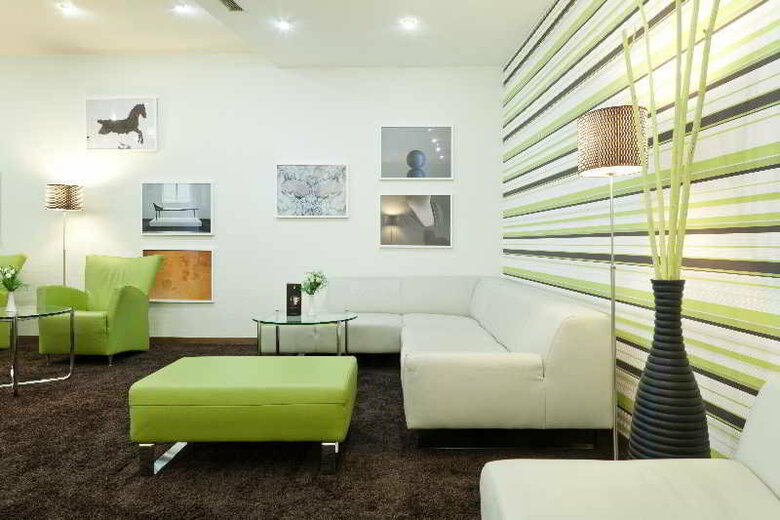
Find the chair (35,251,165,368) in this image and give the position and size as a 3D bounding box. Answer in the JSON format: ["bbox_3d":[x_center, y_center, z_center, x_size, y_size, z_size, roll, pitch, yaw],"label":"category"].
[{"bbox_3d":[-3.116,0.523,6.264,1.133,1.274,1.239,-1,-4,15],"label":"chair"}]

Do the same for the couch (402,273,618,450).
[{"bbox_3d":[0.906,0.923,4.371,0.999,0.618,1.811,1,-2,4],"label":"couch"}]

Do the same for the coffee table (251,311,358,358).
[{"bbox_3d":[-0.815,0.759,5.499,0.947,0.465,0.680,-1,4,-6],"label":"coffee table"}]

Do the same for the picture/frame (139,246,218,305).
[{"bbox_3d":[-2.424,0.209,6.529,0.737,0.552,0.029,0,-1,-2],"label":"picture/frame"}]

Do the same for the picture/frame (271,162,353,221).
[{"bbox_3d":[-0.876,-0.811,6.553,0.735,0.508,0.036,0,0,-2],"label":"picture/frame"}]
